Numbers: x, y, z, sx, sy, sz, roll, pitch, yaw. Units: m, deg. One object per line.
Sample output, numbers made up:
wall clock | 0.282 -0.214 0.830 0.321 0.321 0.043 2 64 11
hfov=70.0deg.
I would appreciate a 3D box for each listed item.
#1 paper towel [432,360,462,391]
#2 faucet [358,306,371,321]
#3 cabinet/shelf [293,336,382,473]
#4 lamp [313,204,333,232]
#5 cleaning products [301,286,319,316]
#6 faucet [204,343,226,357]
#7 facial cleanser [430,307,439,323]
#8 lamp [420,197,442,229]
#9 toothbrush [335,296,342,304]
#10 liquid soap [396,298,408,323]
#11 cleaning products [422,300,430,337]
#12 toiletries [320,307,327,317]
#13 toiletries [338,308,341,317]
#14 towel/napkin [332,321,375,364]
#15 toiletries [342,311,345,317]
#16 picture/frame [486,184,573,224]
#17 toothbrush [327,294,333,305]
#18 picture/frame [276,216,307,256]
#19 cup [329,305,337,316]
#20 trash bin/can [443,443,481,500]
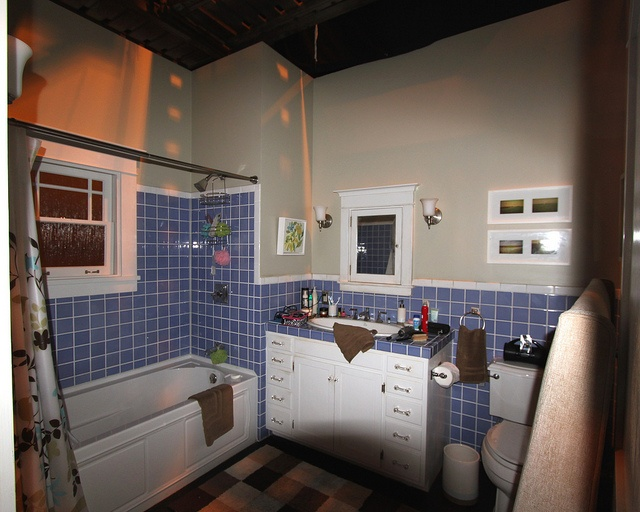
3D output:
paper towel | 0.888 0.848 3.226 0.149 0.160 0.198 -4 -2 -43
faucet | 0.387 0.514 3.973 0.060 0.148 0.137 2 2 -34
cabinet/shelf | 0.161 1.143 3.479 0.853 1.101 0.511 -1 -5 33
lamp | 0.007 -0.347 4.251 0.177 0.225 0.163 1 3 30
cleaning products | -0.104 0.428 4.204 0.155 0.245 0.351 0 2 6
faucet | -0.904 0.828 4.036 0.132 0.050 0.140 4 1 31
facial cleanser | 0.927 0.484 3.700 0.071 0.111 0.046 1 2 18
lamp | 0.896 -0.342 3.653 0.190 0.293 0.178 2 -2 -42
toothbrush | 0.175 0.412 4.203 0.040 0.066 0.014 6 2 19
liquid soap | 0.681 0.468 3.801 0.076 0.195 0.103 1 2 18
cleaning products | 0.848 0.487 3.678 0.061 0.236 0.172 1 2 12
toiletries | 0.030 0.509 4.106 0.074 0.080 0.080 0 2 8
toiletries | 0.179 0.512 4.139 0.042 0.067 0.086 0 2 -1
towel/napkin | 0.245 0.636 3.446 0.234 0.081 0.269 -20 26 -26
toiletries | 0.211 0.529 4.144 0.027 0.056 0.027 8 -10 -39
picture/frame | 1.534 -0.371 3.348 0.558 0.261 0.043 1 3 27
toothbrush | 0.102 0.408 4.170 0.058 0.082 0.180 0 3 1
picture/frame | -0.270 -0.178 4.079 0.045 0.306 0.338 1 -1 27
cup | 0.113 0.493 4.080 0.080 0.088 0.086 2 3 0
trash bin/can | 0.982 1.532 3.284 0.274 0.349 0.287 0 0 -39
